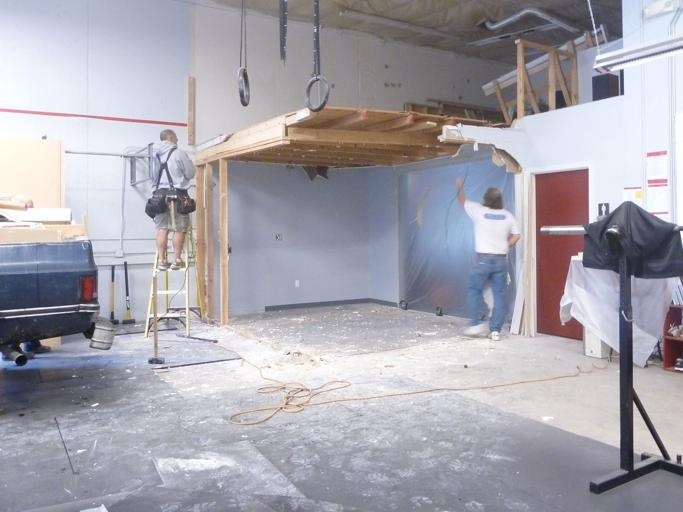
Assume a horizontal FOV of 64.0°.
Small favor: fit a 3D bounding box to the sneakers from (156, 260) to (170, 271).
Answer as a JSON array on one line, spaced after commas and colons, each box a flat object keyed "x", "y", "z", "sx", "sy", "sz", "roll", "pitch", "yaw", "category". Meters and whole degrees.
[{"x": -2.863, "y": 0.178, "z": 8.739, "sx": 0.150, "sy": 0.070, "sz": 0.156, "roll": 3, "pitch": 5, "yaw": 31, "category": "sneakers"}]

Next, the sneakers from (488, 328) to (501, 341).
[{"x": 2.293, "y": 1.191, "z": 8.172, "sx": 0.169, "sy": 0.131, "sz": 0.244, "roll": 1, "pitch": 7, "yaw": 13, "category": "sneakers"}]

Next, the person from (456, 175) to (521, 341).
[{"x": 2.259, "y": 0.112, "z": 8.459, "sx": 0.764, "sy": 2.267, "sz": 0.873, "roll": -4, "pitch": 7, "yaw": -30, "category": "person"}]

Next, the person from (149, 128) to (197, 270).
[{"x": -2.752, "y": -0.885, "z": 8.797, "sx": 0.750, "sy": 2.241, "sz": 0.541, "roll": -2, "pitch": 6, "yaw": -15, "category": "person"}]

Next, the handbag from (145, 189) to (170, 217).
[{"x": -2.962, "y": -0.829, "z": 8.766, "sx": 0.487, "sy": 0.430, "sz": 0.191, "roll": 4, "pitch": 7, "yaw": 36, "category": "handbag"}]

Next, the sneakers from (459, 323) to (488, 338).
[{"x": 2.134, "y": 1.187, "z": 8.569, "sx": 0.185, "sy": 0.237, "sz": 0.517, "roll": -8, "pitch": -13, "yaw": 38, "category": "sneakers"}]

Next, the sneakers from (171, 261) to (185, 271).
[{"x": -2.640, "y": 0.171, "z": 8.805, "sx": 0.208, "sy": 0.151, "sz": 0.292, "roll": -3, "pitch": 7, "yaw": -18, "category": "sneakers"}]
